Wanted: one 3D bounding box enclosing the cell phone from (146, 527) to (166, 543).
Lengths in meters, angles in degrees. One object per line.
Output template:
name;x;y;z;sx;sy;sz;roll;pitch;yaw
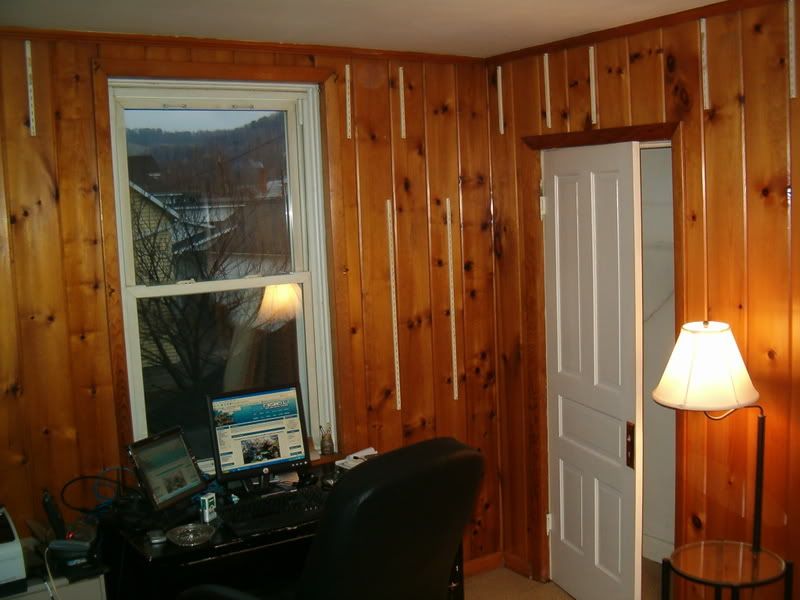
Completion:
cell phone;-1.112;1.082;3.146;0.085;0.039;0.095;-8;8;-26

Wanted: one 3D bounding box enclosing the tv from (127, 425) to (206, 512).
tv;-1.162;0.837;3.395;0.099;0.364;0.335;-16;9;45

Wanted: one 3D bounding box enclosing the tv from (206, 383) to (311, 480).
tv;-0.746;0.706;3.622;0.434;0.403;0.046;-8;-7;-20

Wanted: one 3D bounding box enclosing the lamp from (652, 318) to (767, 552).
lamp;1.450;0.629;3.132;0.520;1.066;0.333;-7;7;-27
